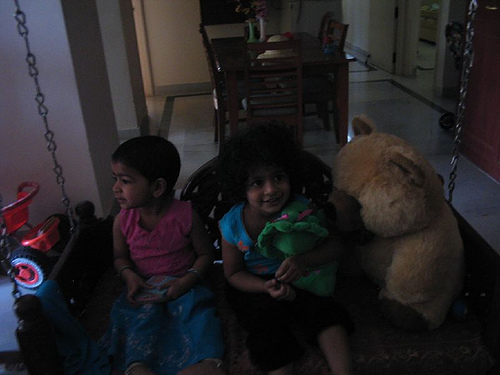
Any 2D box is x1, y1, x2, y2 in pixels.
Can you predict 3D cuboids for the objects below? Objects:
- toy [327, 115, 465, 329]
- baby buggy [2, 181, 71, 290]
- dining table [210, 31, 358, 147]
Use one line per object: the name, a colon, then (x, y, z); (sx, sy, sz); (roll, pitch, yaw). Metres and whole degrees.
toy: (0.512, 0.137, 1.352); (0.480, 0.590, 0.295); (10, 30, 31)
baby buggy: (-1.157, 0.242, 2.036); (0.352, 0.444, 0.490); (7, 17, -14)
dining table: (0.310, -0.929, 3.571); (1.289, 0.814, 1.640); (-4, 24, -5)
